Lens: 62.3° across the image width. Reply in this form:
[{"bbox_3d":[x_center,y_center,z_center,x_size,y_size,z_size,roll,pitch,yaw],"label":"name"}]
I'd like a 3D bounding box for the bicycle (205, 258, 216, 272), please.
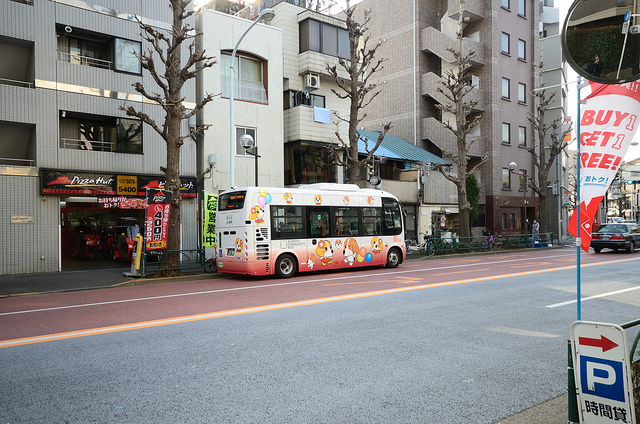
[{"bbox_3d":[-4.691,2.194,22.372,0.465,0.509,0.178,12,-3,-42],"label":"bicycle"}]

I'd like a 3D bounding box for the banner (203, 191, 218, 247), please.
[{"bbox_3d":[-4.760,0.260,22.913,0.371,2.281,0.896,3,7,28],"label":"banner"}]

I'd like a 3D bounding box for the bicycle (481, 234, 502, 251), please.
[{"bbox_3d":[10.944,1.933,34.003,1.471,0.955,0.748,-5,7,-35],"label":"bicycle"}]

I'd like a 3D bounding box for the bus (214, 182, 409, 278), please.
[{"bbox_3d":[-0.059,0.669,23.749,9.028,4.081,2.987,0,-4,-39],"label":"bus"}]

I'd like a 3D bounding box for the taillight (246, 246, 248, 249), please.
[{"bbox_3d":[-2.846,1.346,20.438,0.057,0.096,0.022,1,6,11],"label":"taillight"}]

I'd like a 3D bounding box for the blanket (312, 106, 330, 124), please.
[{"bbox_3d":[0.015,-5.680,31.055,1.167,0.895,0.157,-2,7,-39],"label":"blanket"}]

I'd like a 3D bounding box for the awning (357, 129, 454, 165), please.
[{"bbox_3d":[5.887,-4.684,38.306,4.903,1.980,6.359,13,12,41],"label":"awning"}]

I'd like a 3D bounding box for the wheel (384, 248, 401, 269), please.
[{"bbox_3d":[3.393,2.063,24.335,0.969,0.871,0.394,-4,7,-35],"label":"wheel"}]

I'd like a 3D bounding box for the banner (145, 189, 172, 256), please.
[{"bbox_3d":[-6.383,0.430,20.695,1.004,2.741,0.047,-1,-11,3],"label":"banner"}]

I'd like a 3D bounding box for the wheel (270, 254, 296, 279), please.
[{"bbox_3d":[-1.393,2.131,21.121,0.893,0.926,0.456,-1,6,-13],"label":"wheel"}]

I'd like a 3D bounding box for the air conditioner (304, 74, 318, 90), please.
[{"bbox_3d":[-0.620,-7.677,31.283,0.850,0.911,0.640,6,-9,-44],"label":"air conditioner"}]
